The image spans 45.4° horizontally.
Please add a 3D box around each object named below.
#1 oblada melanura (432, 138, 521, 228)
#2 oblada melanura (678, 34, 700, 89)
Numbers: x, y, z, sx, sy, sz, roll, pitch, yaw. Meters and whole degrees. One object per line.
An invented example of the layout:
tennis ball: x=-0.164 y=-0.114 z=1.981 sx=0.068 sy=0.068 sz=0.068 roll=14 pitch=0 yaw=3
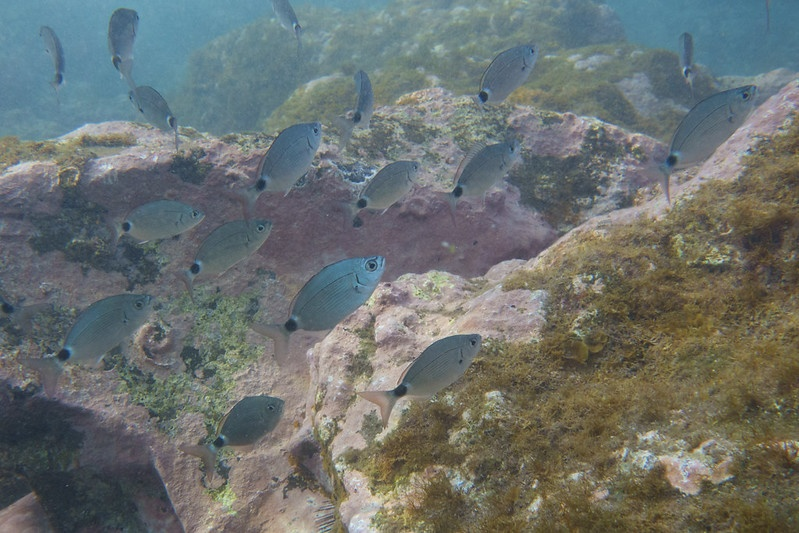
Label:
oblada melanura: x=4.007 y=-4.673 z=45.417 sx=3.881 sy=1.170 sz=1.664 roll=-44 pitch=62 yaw=-6
oblada melanura: x=14.404 y=-10.396 z=47.727 sx=0.792 sy=0.578 sz=3.688 roll=4 pitch=83 yaw=-20
